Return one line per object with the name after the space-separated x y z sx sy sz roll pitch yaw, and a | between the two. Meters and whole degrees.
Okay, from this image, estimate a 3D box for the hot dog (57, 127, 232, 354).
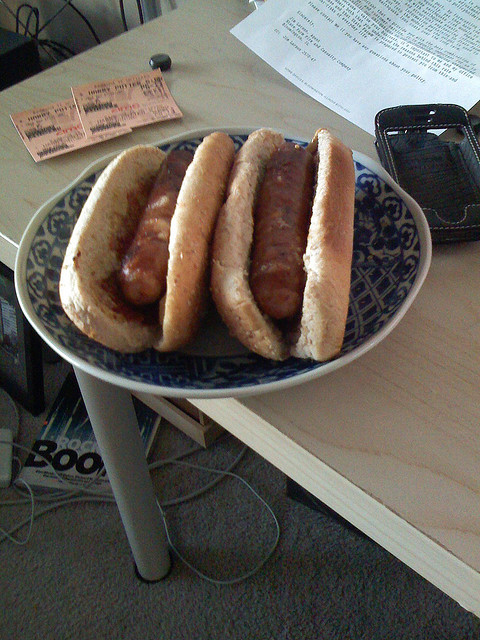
-0.071 -0.094 0.576 0.175 0.111 0.294 -1 41 18 | hot dog

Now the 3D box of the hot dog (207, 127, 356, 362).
0.040 -0.076 0.456 0.114 0.090 0.231 -2 61 8 | hot dog

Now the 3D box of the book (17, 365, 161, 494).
-0.353 0.255 1.194 0.174 0.231 0.024 -7 27 -22 | book
